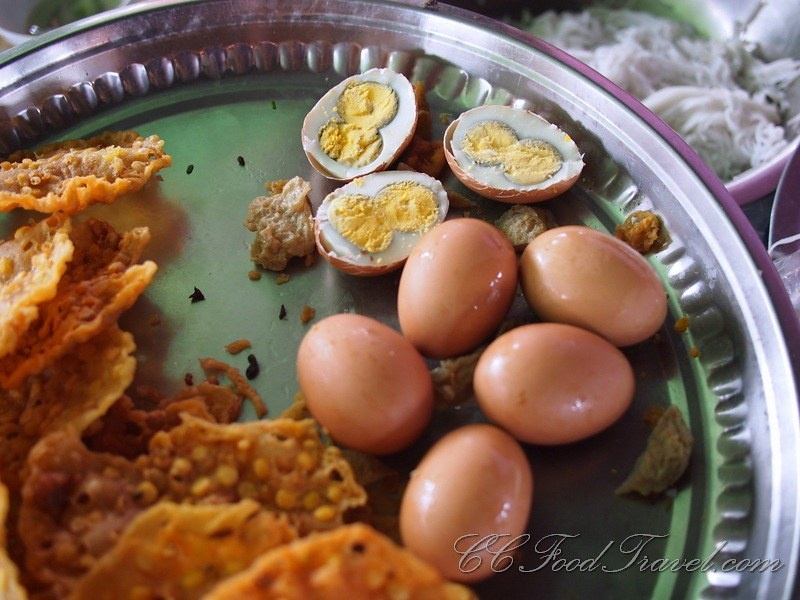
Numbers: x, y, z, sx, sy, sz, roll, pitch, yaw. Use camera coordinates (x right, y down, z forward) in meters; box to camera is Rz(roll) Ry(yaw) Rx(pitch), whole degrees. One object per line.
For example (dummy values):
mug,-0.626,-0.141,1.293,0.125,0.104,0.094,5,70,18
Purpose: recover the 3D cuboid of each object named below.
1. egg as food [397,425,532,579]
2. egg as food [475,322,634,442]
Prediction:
egg as food,0.129,0.392,1.493,0.219,0.215,0.294,42,62,-6
egg as food,0.317,0.158,1.550,0.272,0.223,0.223,-1,39,-1
